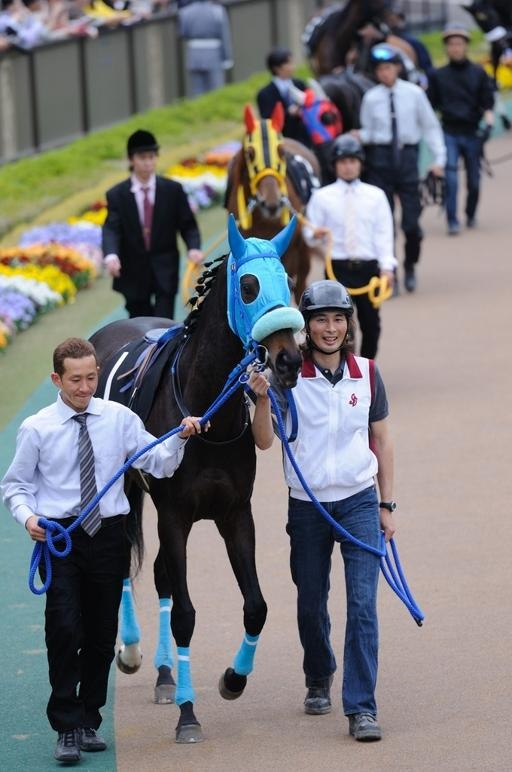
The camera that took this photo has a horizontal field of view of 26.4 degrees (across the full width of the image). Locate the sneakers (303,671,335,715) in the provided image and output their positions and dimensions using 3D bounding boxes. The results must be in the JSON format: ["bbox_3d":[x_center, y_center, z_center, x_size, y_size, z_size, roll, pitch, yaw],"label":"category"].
[{"bbox_3d":[0.207,1.031,3.594,0.059,0.106,0.161,-1,-10,8],"label":"sneakers"}]

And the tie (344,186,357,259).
[{"bbox_3d":[0.599,-1.033,6.872,0.077,0.459,0.048,-3,12,2],"label":"tie"}]

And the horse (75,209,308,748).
[{"bbox_3d":[-0.237,0.373,3.868,0.480,1.484,2.207,-2,-2,-16],"label":"horse"}]

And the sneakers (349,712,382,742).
[{"bbox_3d":[0.324,1.012,3.217,0.049,0.057,0.131,1,-5,-13],"label":"sneakers"}]

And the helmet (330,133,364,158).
[{"bbox_3d":[0.577,-1.480,6.714,0.138,0.166,0.147,1,9,2],"label":"helmet"}]

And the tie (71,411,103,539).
[{"bbox_3d":[-0.485,0.256,3.132,0.054,0.334,0.160,-5,12,-7],"label":"tie"}]

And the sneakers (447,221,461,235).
[{"bbox_3d":[2.202,-1.743,12.073,0.126,0.169,0.236,-1,11,10],"label":"sneakers"}]

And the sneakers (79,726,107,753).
[{"bbox_3d":[-0.484,1.053,3.225,0.116,0.077,0.039,3,0,2],"label":"sneakers"}]

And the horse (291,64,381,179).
[{"bbox_3d":[0.754,-2.655,10.933,0.471,1.091,1.682,-11,24,19],"label":"horse"}]

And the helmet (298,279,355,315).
[{"bbox_3d":[0.223,-0.277,3.441,0.108,0.104,0.143,0,6,-3],"label":"helmet"}]

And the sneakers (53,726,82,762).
[{"bbox_3d":[-0.535,1.028,3.099,0.046,0.056,0.134,1,0,-6],"label":"sneakers"}]

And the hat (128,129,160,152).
[{"bbox_3d":[-0.648,-1.409,6.199,0.121,0.093,0.157,-2,1,-4],"label":"hat"}]

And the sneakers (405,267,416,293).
[{"bbox_3d":[1.440,-0.993,10.181,0.107,0.248,0.258,-2,11,8],"label":"sneakers"}]

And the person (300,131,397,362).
[{"bbox_3d":[0.623,-0.723,6.997,0.612,1.714,0.575,3,23,13],"label":"person"}]

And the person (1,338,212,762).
[{"bbox_3d":[-0.525,0.475,3.206,0.310,1.223,0.506,5,14,35],"label":"person"}]
